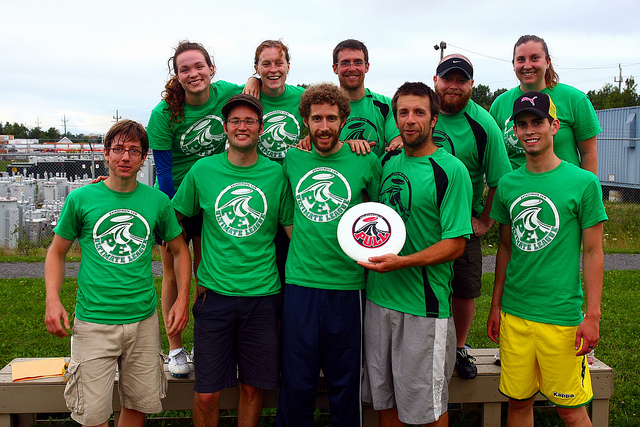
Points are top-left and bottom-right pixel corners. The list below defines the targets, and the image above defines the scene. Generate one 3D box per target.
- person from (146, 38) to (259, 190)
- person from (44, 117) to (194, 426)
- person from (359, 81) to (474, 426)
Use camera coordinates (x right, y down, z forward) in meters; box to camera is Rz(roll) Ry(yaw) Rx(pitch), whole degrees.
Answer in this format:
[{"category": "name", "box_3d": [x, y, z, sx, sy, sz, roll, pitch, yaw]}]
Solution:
[{"category": "person", "box_3d": [-1.260, -0.952, 5.865, 1.489, 1.724, 0.937, -8, 25, -22]}, {"category": "person", "box_3d": [-2.035, 0.606, 5.485, 1.370, 3.071, 0.538, -3, 4, -28]}, {"category": "person", "box_3d": [0.953, 0.465, 5.411, 1.106, 3.511, 0.541, -1, 4, 3]}]
